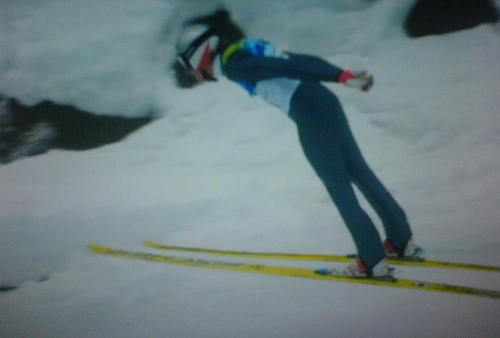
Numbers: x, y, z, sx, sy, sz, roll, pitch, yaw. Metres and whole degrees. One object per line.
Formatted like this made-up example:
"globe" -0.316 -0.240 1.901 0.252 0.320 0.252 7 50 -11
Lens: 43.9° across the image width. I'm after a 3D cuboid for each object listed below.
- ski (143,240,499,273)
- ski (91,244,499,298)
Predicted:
"ski" 0.829 0.851 6.044 3.342 0.180 0.242 1 21 17
"ski" 0.537 0.979 5.895 3.232 0.157 0.240 4 28 13
